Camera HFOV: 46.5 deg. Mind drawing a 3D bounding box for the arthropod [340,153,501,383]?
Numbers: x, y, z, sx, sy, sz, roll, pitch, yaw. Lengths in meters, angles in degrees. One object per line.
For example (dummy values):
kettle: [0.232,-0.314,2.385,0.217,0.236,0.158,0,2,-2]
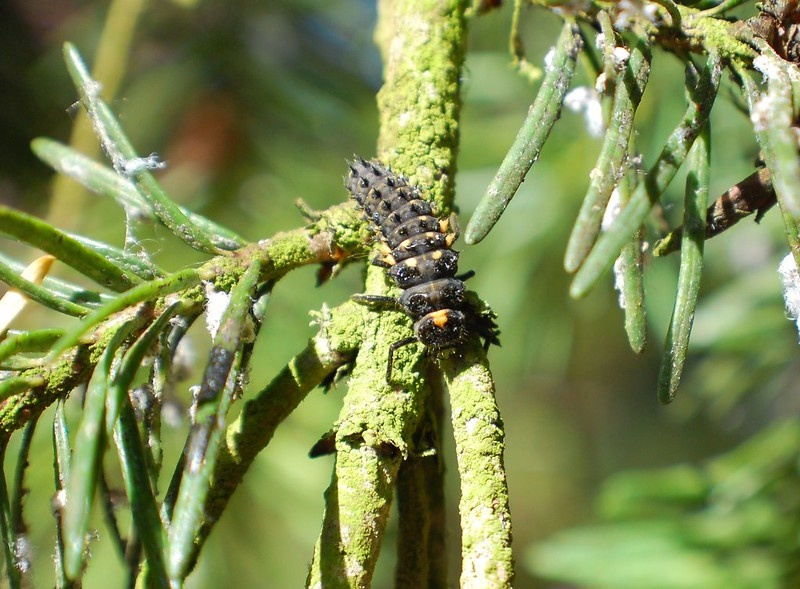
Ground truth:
arthropod: [0.022,-0.082,2.249,0.319,0.180,0.538,-13,76,-24]
